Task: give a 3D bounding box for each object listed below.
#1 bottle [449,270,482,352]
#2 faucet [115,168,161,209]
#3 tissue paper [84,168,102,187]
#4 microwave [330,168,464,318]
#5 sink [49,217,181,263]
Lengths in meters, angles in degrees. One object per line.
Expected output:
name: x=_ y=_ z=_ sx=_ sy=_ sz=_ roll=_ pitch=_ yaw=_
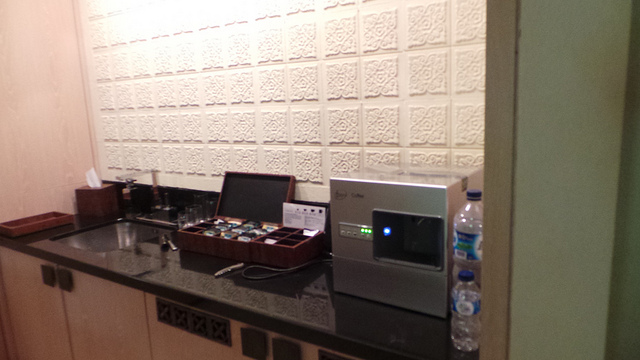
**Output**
bottle: x=0.584 y=0.539 z=1.706 sx=0.110 sy=0.274 sz=0.092 roll=3 pitch=7 yaw=16
faucet: x=-1.258 y=0.052 z=2.957 sx=0.374 sy=0.271 sz=0.131 roll=3 pitch=6 yaw=20
tissue paper: x=-1.616 y=-0.014 z=3.040 sx=0.084 sy=0.130 sz=0.118 roll=-5 pitch=8 yaw=-42
microwave: x=0.410 y=0.282 z=1.954 sx=0.450 sy=0.523 sz=0.632 roll=-5 pitch=5 yaw=-40
sink: x=-1.173 y=0.361 z=2.559 sx=0.795 sy=0.203 sz=0.589 roll=6 pitch=7 yaw=44
